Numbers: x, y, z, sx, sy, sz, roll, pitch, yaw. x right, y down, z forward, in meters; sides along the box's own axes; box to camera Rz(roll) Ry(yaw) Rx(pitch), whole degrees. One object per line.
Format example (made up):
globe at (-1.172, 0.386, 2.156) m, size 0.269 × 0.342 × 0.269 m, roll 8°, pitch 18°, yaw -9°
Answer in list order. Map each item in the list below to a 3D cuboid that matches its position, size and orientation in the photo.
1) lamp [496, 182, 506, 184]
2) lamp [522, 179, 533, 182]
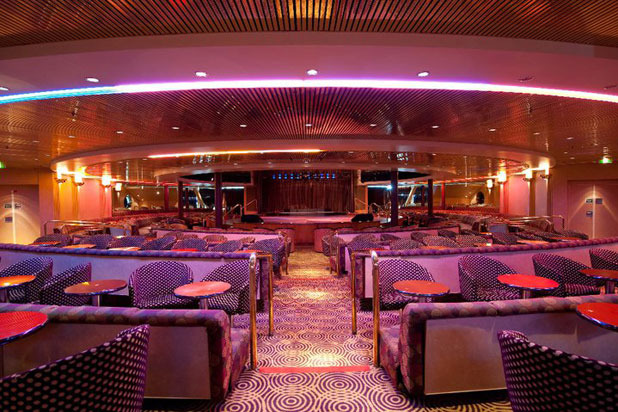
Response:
lamp at (9.232, -1.142, 19.161) m, size 0.277 × 0.059 × 0.236 m, roll 1°, pitch -3°, yaw -15°
lamp at (8.696, -1.043, 15.876) m, size 0.345 × 0.097 × 0.290 m, roll 0°, pitch 0°, yaw 0°
